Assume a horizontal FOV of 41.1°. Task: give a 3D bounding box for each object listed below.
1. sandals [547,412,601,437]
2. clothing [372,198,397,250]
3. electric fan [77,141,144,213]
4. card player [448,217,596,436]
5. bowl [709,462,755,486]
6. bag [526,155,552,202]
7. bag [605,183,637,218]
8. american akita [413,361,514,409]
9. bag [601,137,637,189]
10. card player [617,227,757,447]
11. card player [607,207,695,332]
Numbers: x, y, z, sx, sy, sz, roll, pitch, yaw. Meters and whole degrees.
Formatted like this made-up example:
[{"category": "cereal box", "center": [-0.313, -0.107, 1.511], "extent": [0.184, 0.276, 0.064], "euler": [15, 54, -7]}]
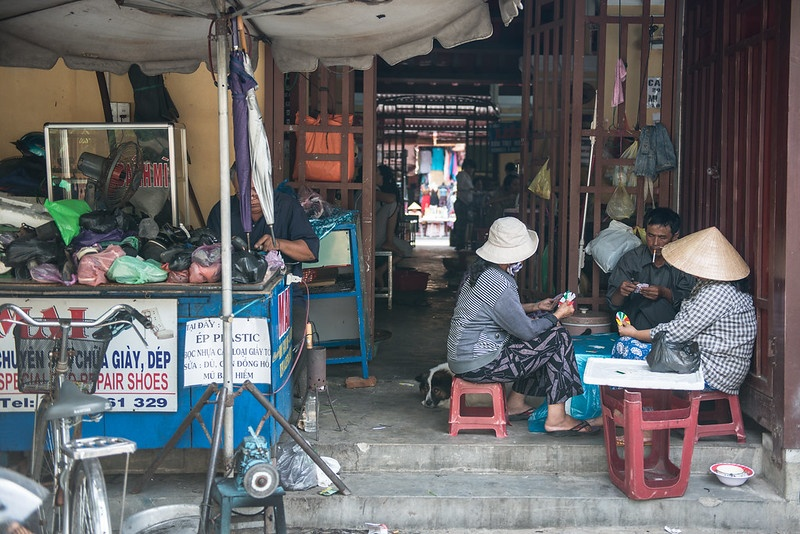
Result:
[{"category": "sandals", "center": [1.312, 1.194, 8.075], "extent": [0.381, 0.095, 0.152], "euler": [-5, 10, -9]}, {"category": "clothing", "center": [-0.183, -0.500, 12.232], "extent": [0.424, 0.496, 0.364], "euler": [-1, 1, 13]}, {"category": "electric fan", "center": [-2.262, -0.697, 8.388], "extent": [0.313, 0.479, 0.378], "euler": [24, 39, 9]}, {"category": "card player", "center": [0.964, 0.433, 8.354], "extent": [0.926, 1.769, 0.971], "euler": [1, 3, 14]}, {"category": "bowl", "center": [2.411, 1.497, 7.742], "extent": [0.317, 0.118, 0.203], "euler": [1, 12, 11]}, {"category": "bag", "center": [1.282, -0.802, 9.777], "extent": [0.178, 0.358, 0.311], "euler": [-2, 12, 0]}, {"category": "bag", "center": [1.969, -0.576, 9.520], "extent": [0.259, 0.383, 0.252], "euler": [-1, 5, 36]}, {"category": "american akita", "center": [0.403, 0.969, 8.666], "extent": [0.493, 0.301, 0.294], "euler": [1, -3, 9]}, {"category": "bag", "center": [1.969, -0.936, 9.604], "extent": [0.126, 0.365, 0.308], "euler": [8, 1, 20]}, {"category": "card player", "center": [2.208, 0.419, 8.044], "extent": [0.758, 1.407, 0.654], "euler": [1, 2, 1]}, {"category": "card player", "center": [2.060, -0.036, 8.811], "extent": [0.563, 1.088, 0.603], "euler": [-1, 0, 0]}]
